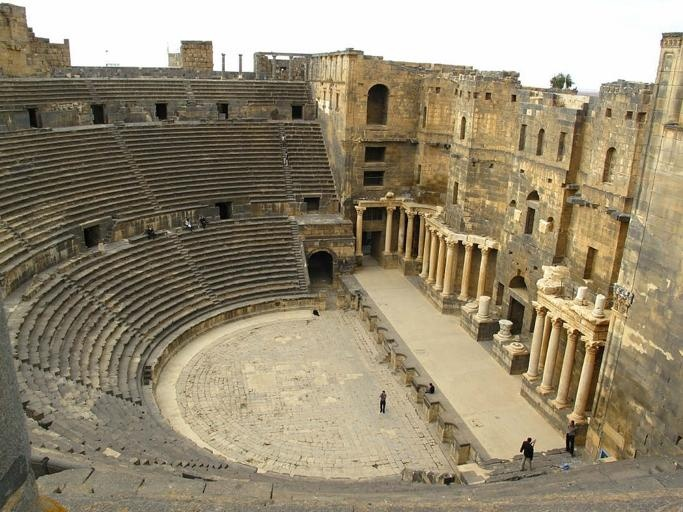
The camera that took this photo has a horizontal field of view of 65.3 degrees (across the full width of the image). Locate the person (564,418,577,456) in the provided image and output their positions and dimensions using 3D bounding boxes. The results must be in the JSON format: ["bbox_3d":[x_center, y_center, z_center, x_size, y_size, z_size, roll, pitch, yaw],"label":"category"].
[{"bbox_3d":[7.855,6.234,18.263,0.392,1.140,0.819,-2,-16,22],"label":"person"}]

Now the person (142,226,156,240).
[{"bbox_3d":[-10.106,-1.261,28.172,0.629,0.888,1.012,9,-16,-21],"label":"person"}]

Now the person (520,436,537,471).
[{"bbox_3d":[6.172,6.537,17.658,0.433,0.975,1.415,-1,-15,19],"label":"person"}]

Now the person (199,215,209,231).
[{"bbox_3d":[-7.790,-1.833,29.964,0.422,1.083,0.498,31,41,30],"label":"person"}]
